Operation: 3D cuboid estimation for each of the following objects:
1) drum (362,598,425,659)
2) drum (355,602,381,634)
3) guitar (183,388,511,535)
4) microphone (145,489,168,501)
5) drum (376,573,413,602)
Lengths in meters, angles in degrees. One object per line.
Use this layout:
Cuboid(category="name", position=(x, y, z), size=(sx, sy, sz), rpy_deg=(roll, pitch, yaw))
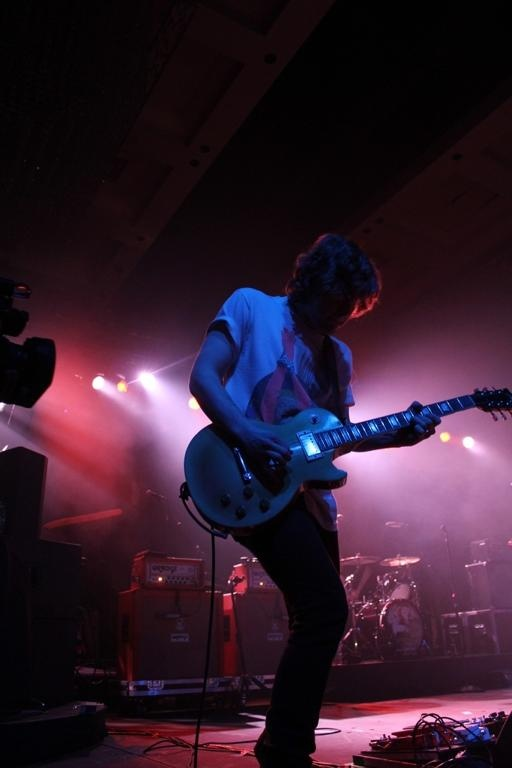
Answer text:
Cuboid(category="drum", position=(1.851, 3.147, 7.551), size=(0.792, 0.803, 0.818), rpy_deg=(17, -26, -18))
Cuboid(category="drum", position=(1.499, 3.085, 7.604), size=(0.291, 0.410, 0.414), rpy_deg=(-14, -33, -1))
Cuboid(category="guitar", position=(0.155, 0.280, 1.934), size=(0.801, 0.461, 0.264), rpy_deg=(12, -22, -33))
Cuboid(category="microphone", position=(-1.478, 1.611, 8.369), size=(0.044, 0.124, 0.338), rpy_deg=(-1, -30, 22))
Cuboid(category="drum", position=(2.073, 2.917, 8.299), size=(0.465, 0.470, 0.356), rpy_deg=(0, -7, -17))
